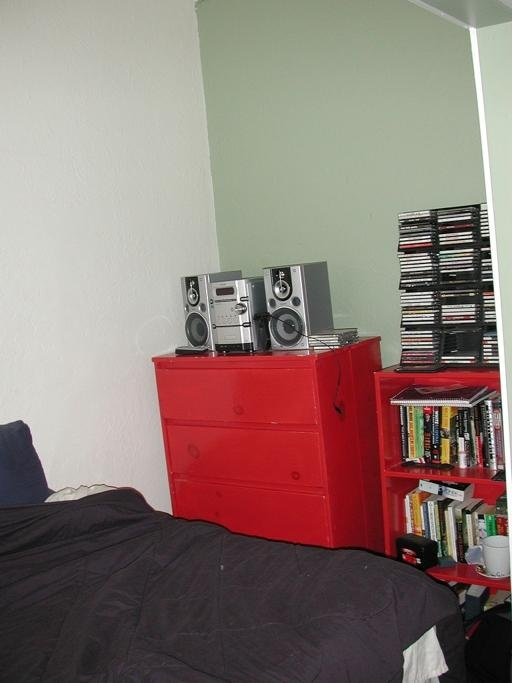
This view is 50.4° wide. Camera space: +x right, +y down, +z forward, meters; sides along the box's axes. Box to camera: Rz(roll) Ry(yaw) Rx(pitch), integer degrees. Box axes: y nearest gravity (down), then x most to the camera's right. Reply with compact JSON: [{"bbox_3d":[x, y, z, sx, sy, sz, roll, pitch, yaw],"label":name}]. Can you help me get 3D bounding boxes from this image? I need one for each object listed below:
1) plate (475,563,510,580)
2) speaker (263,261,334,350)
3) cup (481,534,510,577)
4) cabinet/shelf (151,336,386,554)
[{"bbox_3d":[0.894,0.876,2.056,0.087,0.019,0.088,-1,-8,31],"label":"plate"},{"bbox_3d":[0.211,-0.174,2.554,0.325,0.414,0.216,-3,1,-1],"label":"speaker"},{"bbox_3d":[0.895,0.797,2.027,0.089,0.174,0.235,-2,2,22],"label":"cup"},{"bbox_3d":[0.074,0.525,2.829,0.897,1.078,0.687,2,16,32],"label":"cabinet/shelf"}]
